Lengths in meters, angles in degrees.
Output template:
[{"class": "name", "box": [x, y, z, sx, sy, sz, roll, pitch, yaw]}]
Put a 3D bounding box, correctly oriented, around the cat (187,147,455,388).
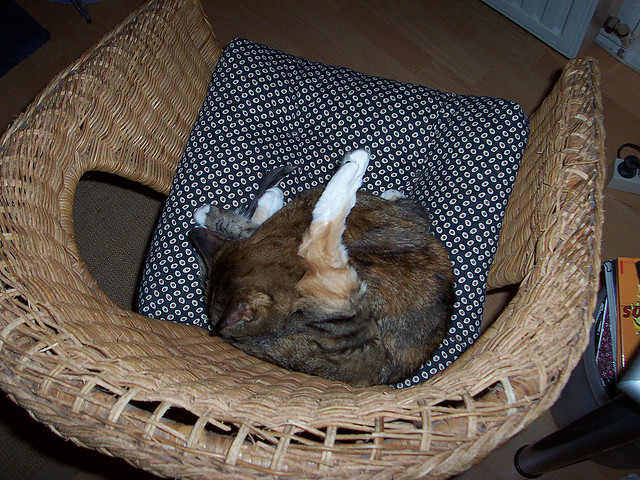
[{"class": "cat", "box": [0.115, 0.134, 2.346, 0.862, 0.382, 0.904, 5, 45, 6]}]
